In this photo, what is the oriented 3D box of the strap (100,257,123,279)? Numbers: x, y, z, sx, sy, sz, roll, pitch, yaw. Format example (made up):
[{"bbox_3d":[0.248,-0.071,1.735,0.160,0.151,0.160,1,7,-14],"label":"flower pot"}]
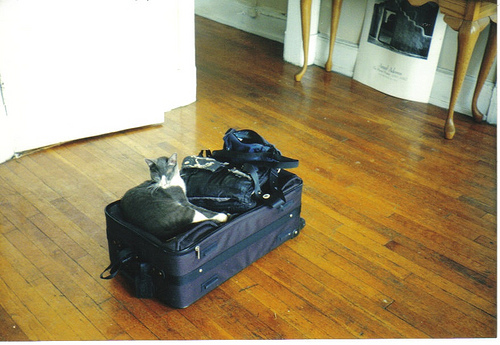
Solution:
[{"bbox_3d":[-0.642,0.450,1.982,0.076,0.029,0.122,10,47,34],"label":"strap"}]

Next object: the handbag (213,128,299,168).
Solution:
[{"bbox_3d":[0.035,-0.107,2.139,0.333,0.131,0.226,22,13,11],"label":"handbag"}]

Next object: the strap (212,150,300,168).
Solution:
[{"bbox_3d":[0.038,-0.070,2.107,0.279,0.058,0.147,8,6,2],"label":"strap"}]

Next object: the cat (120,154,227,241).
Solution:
[{"bbox_3d":[-0.283,0.112,1.941,0.364,0.285,0.623,-2,12,-39],"label":"cat"}]

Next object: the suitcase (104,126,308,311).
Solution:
[{"bbox_3d":[-0.169,0.193,2.224,1.033,0.574,0.648,-29,48,-31],"label":"suitcase"}]

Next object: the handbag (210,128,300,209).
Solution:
[{"bbox_3d":[-0.028,0.000,2.203,0.474,0.201,0.330,35,46,13],"label":"handbag"}]
